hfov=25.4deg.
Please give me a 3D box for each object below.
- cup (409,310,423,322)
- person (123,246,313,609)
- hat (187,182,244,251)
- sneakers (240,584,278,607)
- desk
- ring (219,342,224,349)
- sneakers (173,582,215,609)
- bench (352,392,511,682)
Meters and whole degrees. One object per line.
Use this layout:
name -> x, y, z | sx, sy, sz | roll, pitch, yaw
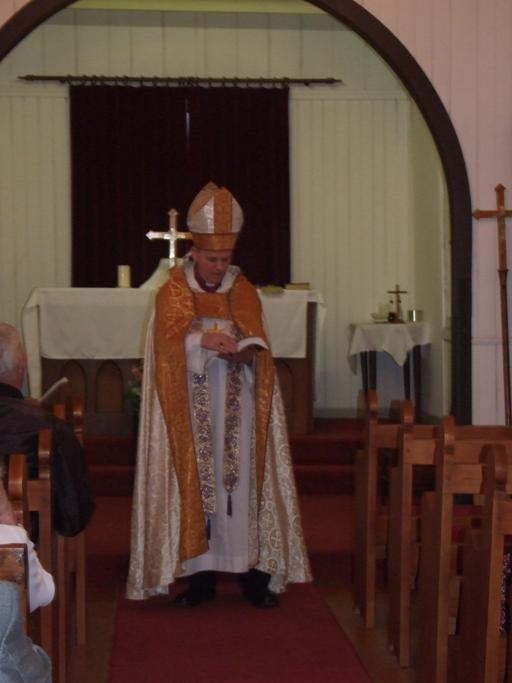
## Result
cup -> 1.151, -0.187, 8.243 | 0.076, 0.095, 0.090 | 1, -3, 3
person -> -0.187, 0.449, 5.019 | 0.793, 1.481, 0.530 | -2, 11, -6
hat -> -0.181, -0.557, 5.064 | 0.192, 0.248, 0.301 | -2, 13, -10
sneakers -> 0.010, 1.133, 5.143 | 0.143, 0.171, 0.071 | -3, 0, 4
desk -> 0.949, 0.218, 8.301 | 0.536, 0.777, 0.604 | 1, -3, -7
ring -> -0.149, 0.011, 4.795 | 0.015, 0.018, 0.005 | 10, 7, 37
sneakers -> -0.275, 1.140, 5.175 | 0.170, 0.195, 0.089 | 6, -5, -33
bench -> 0.533, 0.732, 4.691 | 0.589, 1.406, 0.990 | 0, -3, -2
